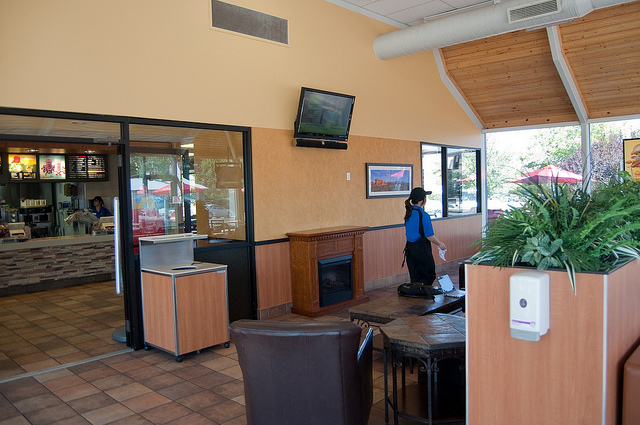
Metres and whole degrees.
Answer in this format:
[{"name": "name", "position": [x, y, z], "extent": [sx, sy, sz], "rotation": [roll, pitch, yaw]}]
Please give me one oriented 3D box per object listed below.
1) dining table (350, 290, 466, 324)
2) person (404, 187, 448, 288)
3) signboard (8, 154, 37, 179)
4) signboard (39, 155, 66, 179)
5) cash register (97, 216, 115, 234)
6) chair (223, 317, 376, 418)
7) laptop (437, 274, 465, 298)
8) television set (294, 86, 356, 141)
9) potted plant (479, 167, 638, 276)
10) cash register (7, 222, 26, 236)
[{"name": "dining table", "position": [1.137, 1.225, 5.556], "extent": [1.357, 0.241, 0.850], "rotation": [-8, 10, -42]}, {"name": "person", "position": [1.565, 0.393, 6.636], "extent": [0.517, 1.516, 0.632], "rotation": [-1, 7, 8]}, {"name": "signboard", "position": [-7.653, -1.162, 11.161], "extent": [0.065, 0.591, 0.627], "rotation": [-6, 5, 44]}, {"name": "signboard", "position": [-7.064, -1.192, 11.468], "extent": [0.657, 0.675, 0.091], "rotation": [-4, 1, -44]}, {"name": "cash register", "position": [-4.663, 0.301, 9.501], "extent": [0.303, 0.408, 0.454], "rotation": [6, 6, 40]}, {"name": "chair", "position": [-0.146, 1.212, 3.803], "extent": [0.857, 1.085, 1.011], "rotation": [0, 7, 14]}, {"name": "laptop", "position": [1.752, 0.996, 5.848], "extent": [0.275, 0.167, 0.293], "rotation": [3, 7, 38]}, {"name": "television set", "position": [0.111, -1.652, 7.429], "extent": [1.250, 0.839, 0.100], "rotation": [19, 16, 40]}, {"name": "potted plant", "position": [1.830, 0.040, 3.102], "extent": [1.291, 0.630, 0.785], "rotation": [-6, 9, -33]}, {"name": "cash register", "position": [-6.200, 0.358, 8.893], "extent": [0.253, 0.320, 0.352], "rotation": [-8, -3, 40]}]
